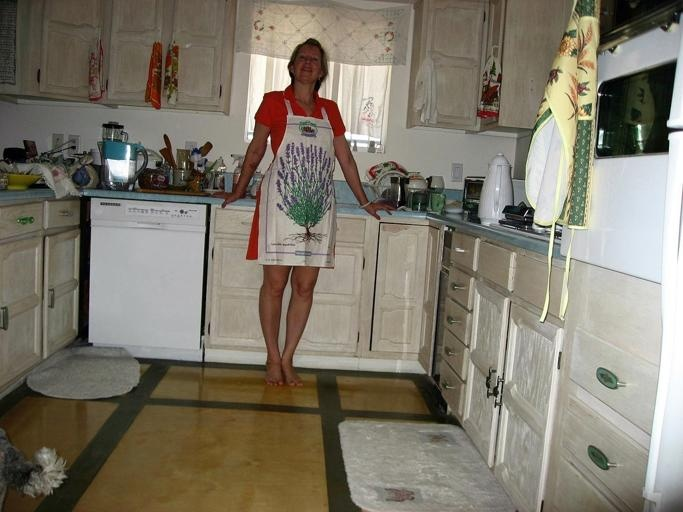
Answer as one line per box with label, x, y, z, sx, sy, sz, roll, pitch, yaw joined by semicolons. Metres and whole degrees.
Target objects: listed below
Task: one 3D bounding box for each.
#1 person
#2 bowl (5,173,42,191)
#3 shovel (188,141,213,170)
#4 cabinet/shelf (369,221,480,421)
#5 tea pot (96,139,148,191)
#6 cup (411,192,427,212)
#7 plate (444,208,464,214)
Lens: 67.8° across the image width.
person;-0.262;-0.239;2.924;0.821;1.938;0.365;1;10;-16
bowl;-1.667;-0.396;2.685;0.132;0.083;0.396;2;11;-14
shovel;-0.940;-0.707;3.454;0.074;0.306;0.109;26;-42;-22
cabinet/shelf;0.461;0.326;2.833;0.575;0.912;0.897;4;6;-8
tea pot;-1.338;-0.560;3.138;0.277;0.287;0.221;-1;11;-27
cup;0.490;-0.349;3.263;0.107;0.133;0.110;1;4;0
plate;0.681;-0.275;3.075;0.100;0.029;0.187;8;11;18
